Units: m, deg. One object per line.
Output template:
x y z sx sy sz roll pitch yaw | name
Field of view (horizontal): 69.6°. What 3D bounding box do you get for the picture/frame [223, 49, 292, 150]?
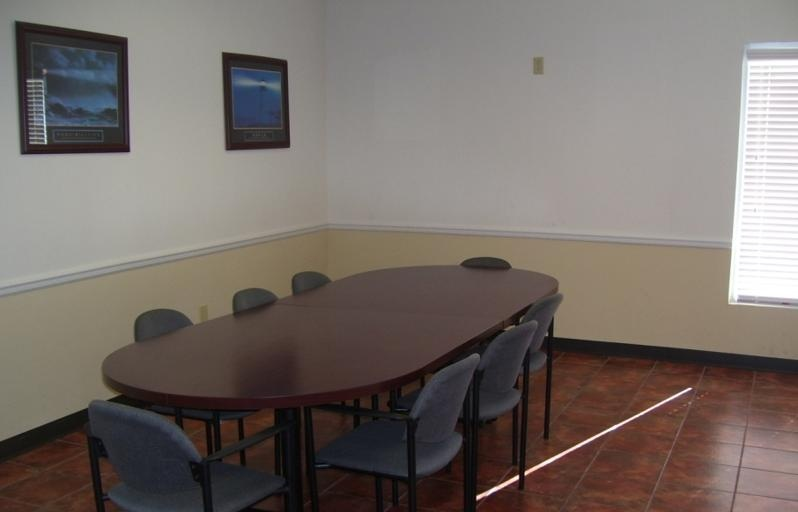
-1.371 -1.490 5.430 0.075 1.066 0.989 2 7 33 | picture/frame
